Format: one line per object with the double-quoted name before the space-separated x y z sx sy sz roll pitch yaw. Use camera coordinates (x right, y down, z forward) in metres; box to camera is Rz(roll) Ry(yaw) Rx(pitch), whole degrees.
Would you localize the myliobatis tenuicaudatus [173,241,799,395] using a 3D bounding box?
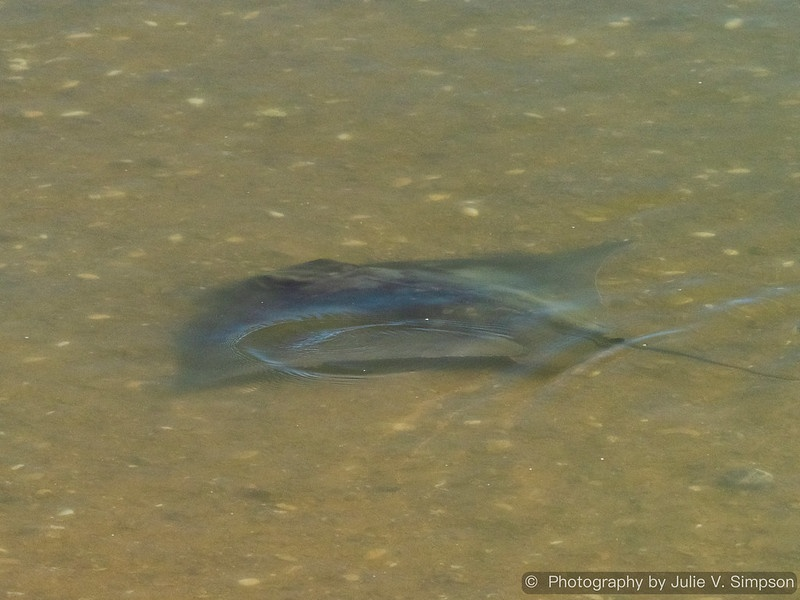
"myliobatis tenuicaudatus" 0.043 0.100 5.819 2.488 0.133 1.225 6 23 21
